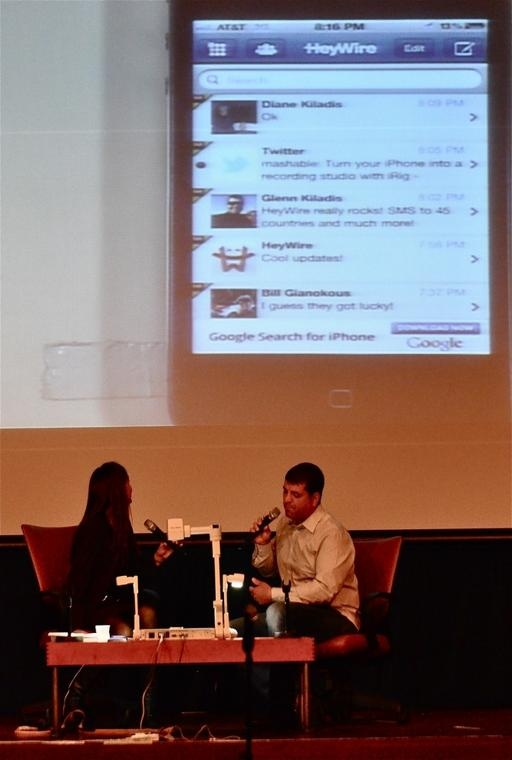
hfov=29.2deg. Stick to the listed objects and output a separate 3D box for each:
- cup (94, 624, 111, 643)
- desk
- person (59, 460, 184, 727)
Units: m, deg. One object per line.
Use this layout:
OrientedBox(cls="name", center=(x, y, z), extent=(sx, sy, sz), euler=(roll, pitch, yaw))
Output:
OrientedBox(cls="cup", center=(-0.463, 0.766, 2.954), extent=(0.053, 0.047, 0.050), euler=(-1, -13, 0))
OrientedBox(cls="desk", center=(-0.280, 0.903, 2.996), extent=(0.919, 0.264, 0.263), euler=(10, -10, -34))
OrientedBox(cls="person", center=(-0.523, 0.768, 3.576), extent=(0.454, 0.939, 0.433), euler=(1, 3, 20))
